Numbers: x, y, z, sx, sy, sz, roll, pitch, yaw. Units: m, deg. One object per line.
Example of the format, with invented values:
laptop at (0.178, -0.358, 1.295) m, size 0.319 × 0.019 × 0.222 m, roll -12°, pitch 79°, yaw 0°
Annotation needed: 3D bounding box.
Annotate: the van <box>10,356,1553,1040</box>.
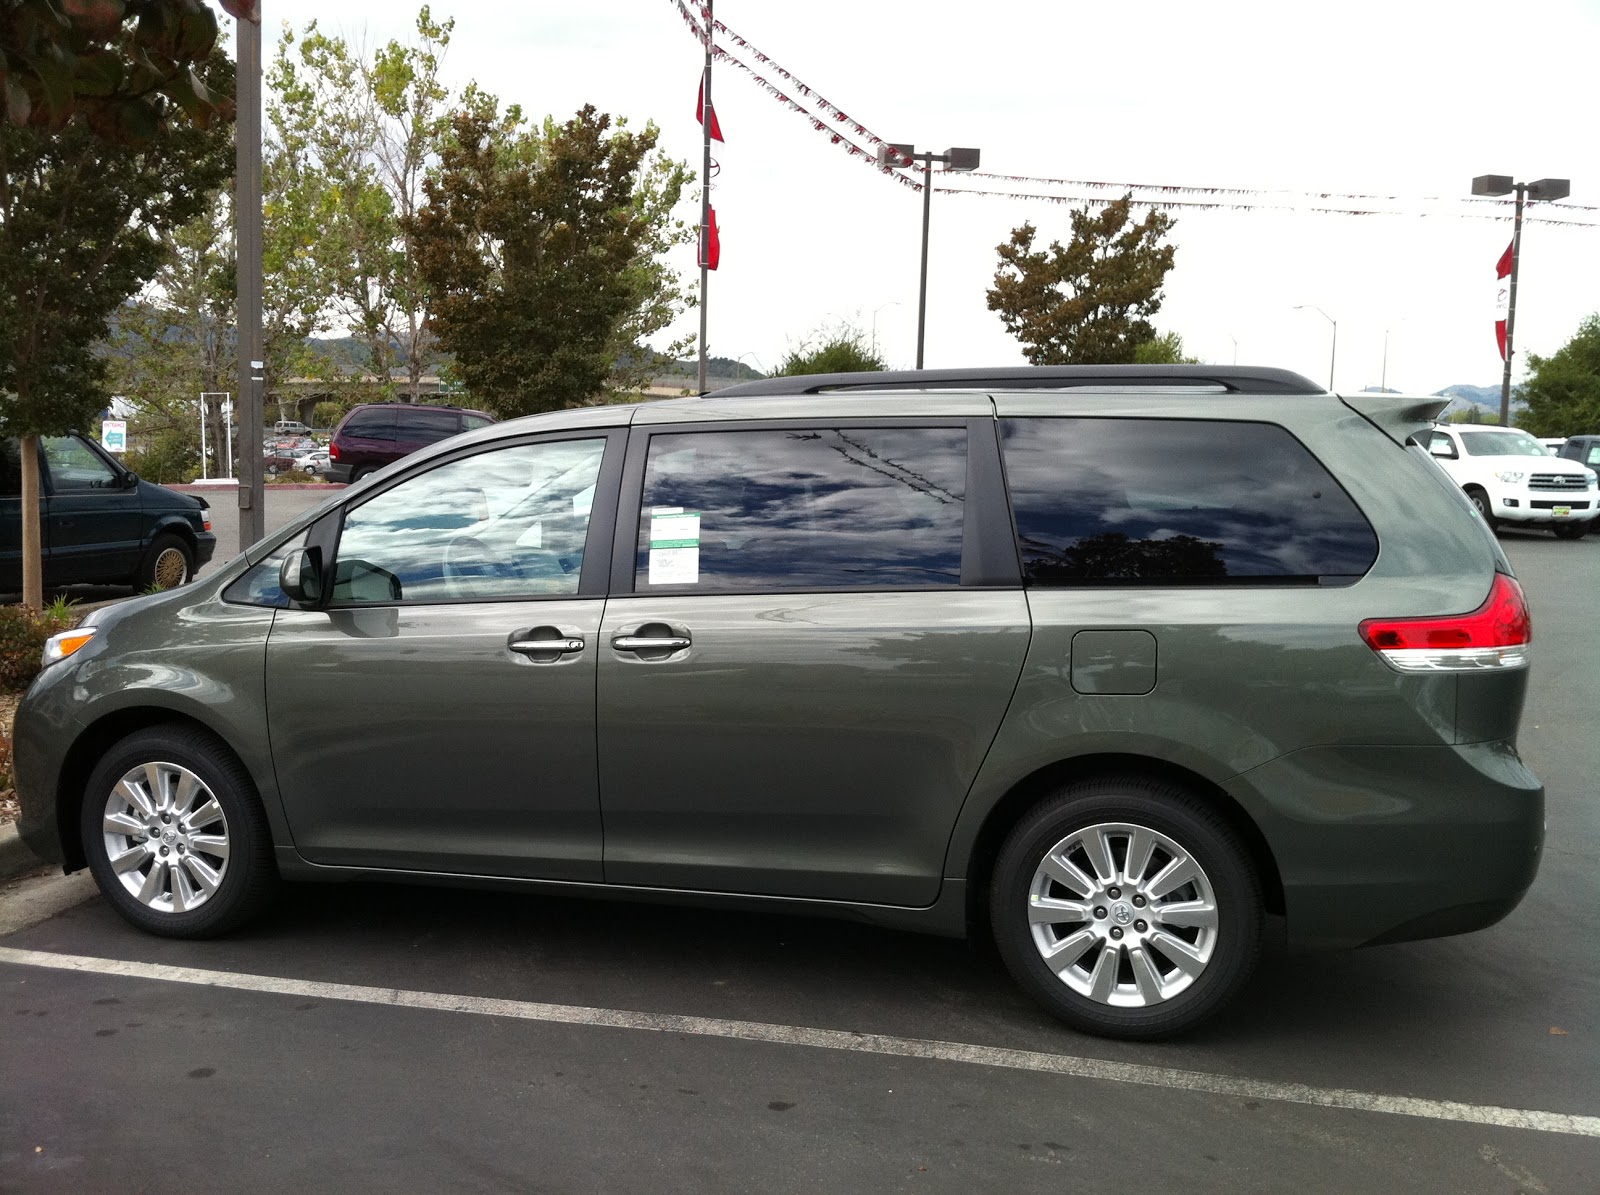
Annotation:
van at (-0.299, 0.255, 5.255) m, size 5.726 × 1.917 × 2.352 m, roll 1°, pitch 0°, yaw 12°
